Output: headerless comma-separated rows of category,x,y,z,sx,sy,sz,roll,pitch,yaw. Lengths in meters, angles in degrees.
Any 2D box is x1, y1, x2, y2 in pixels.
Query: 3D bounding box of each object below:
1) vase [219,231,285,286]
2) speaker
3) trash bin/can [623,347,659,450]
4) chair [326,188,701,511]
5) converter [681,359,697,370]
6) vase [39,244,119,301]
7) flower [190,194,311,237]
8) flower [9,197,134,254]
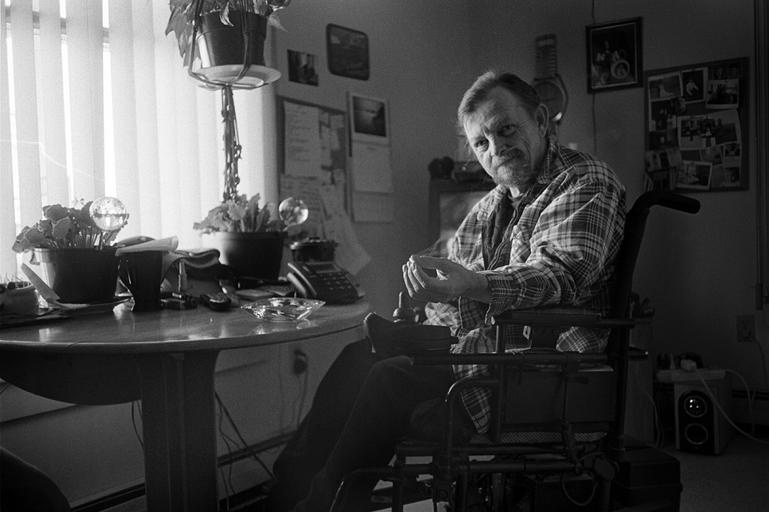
vase,-0.528,0.011,2.712,0.206,0.154,0.213,0,-9,-6
speaker,1.612,0.911,3.595,0.212,0.369,0.365,2,-31,18
trash bin/can,1.350,0.725,3.626,0.117,0.497,0.172,-3,5,26
chair,0.408,0.433,2.574,1.232,1.118,0.819,2,-10,5
converter,1.576,0.560,3.548,0.047,0.037,0.067,-2,-6,-7
vase,-1.027,0.059,2.316,0.212,0.145,0.201,-1,-6,-15
flower,-0.520,-0.174,2.840,0.466,0.167,0.311,-4,-4,28
flower,-1.072,-0.108,2.341,0.345,0.181,0.142,-2,3,-29
